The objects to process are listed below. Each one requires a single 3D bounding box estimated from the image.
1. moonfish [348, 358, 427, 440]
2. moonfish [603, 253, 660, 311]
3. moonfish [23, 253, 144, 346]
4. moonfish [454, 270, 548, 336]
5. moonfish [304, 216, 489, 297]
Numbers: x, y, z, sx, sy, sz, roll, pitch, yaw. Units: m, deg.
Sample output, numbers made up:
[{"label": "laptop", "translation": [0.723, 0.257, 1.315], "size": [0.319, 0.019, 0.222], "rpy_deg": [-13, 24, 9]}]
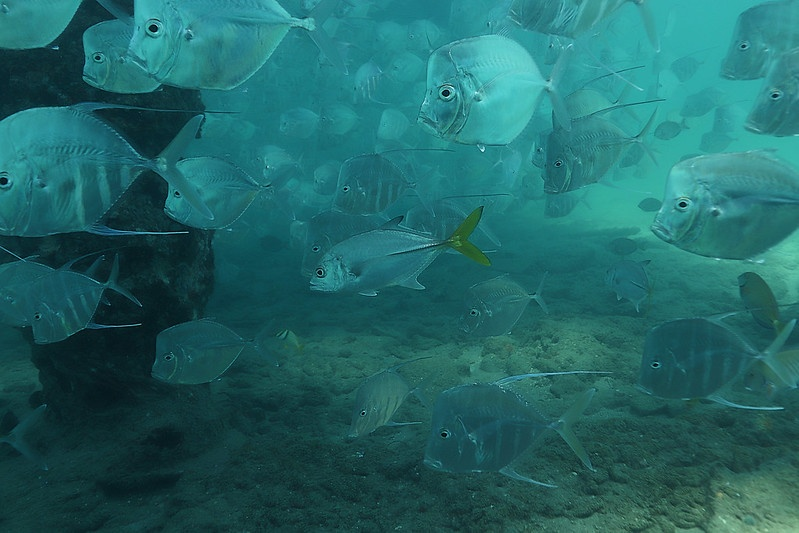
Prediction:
[{"label": "moonfish", "translation": [-0.197, 1.431, 7.685], "size": [0.700, 0.633, 0.246], "rpy_deg": [-6, 26, -33]}, {"label": "moonfish", "translation": [2.994, 0.177, 9.157], "size": [0.341, 0.587, 1.063], "rpy_deg": [0, 15, -21]}, {"label": "moonfish", "translation": [-3.308, 0.356, 7.544], "size": [1.243, 0.812, 0.239], "rpy_deg": [-22, 2, 9]}, {"label": "moonfish", "translation": [1.290, 0.472, 8.687], "size": [1.270, 0.753, 0.195], "rpy_deg": [-14, 14, -20]}, {"label": "moonfish", "translation": [-0.039, -0.082, 7.735], "size": [1.951, 0.767, 0.512], "rpy_deg": [-10, -7, 17]}]
